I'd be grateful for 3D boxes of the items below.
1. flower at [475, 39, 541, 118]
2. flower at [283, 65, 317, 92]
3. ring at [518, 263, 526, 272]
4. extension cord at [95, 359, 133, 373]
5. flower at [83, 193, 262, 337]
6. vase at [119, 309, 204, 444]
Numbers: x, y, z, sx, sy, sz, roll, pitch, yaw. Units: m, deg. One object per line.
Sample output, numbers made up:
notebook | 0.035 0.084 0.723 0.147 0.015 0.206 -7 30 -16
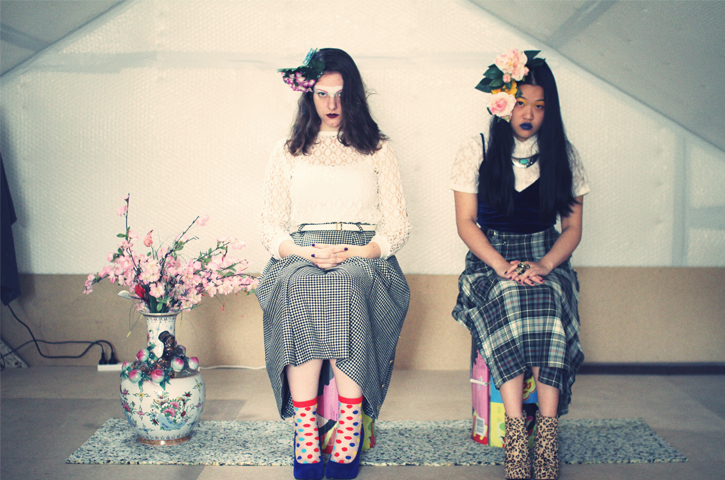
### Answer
flower | 0.669 -0.718 3.083 0.269 0.326 0.124 3 15 10
flower | -0.304 -0.761 3.174 0.129 0.048 0.120 18 9 1
ring | 0.731 0.129 2.994 0.028 0.036 0.013 2 -25 12
extension cord | -1.403 0.712 3.705 0.197 0.047 0.209 -1 0 1
flower | -0.808 0.058 3.330 0.496 0.427 0.639 -9 -8 10
vase | -1.043 0.685 3.190 0.468 0.663 0.464 4 -8 -6
